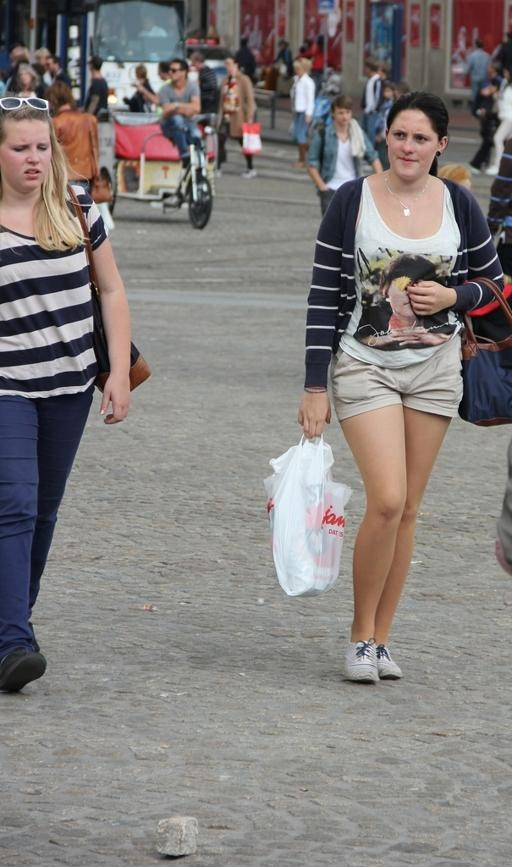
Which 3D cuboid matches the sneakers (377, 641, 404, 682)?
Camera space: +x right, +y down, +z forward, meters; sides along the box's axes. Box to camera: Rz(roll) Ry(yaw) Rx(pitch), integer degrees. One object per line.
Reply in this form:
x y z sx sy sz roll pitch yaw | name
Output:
0.395 0.703 3.262 0.048 0.058 0.138 3 3 -10 | sneakers

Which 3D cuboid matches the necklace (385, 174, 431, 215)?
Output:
0.421 -0.686 3.166 0.095 0.120 0.063 -1 -1 2 | necklace

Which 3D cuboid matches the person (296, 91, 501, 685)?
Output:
0.427 -0.124 3.215 0.590 1.725 0.438 2 13 2 | person

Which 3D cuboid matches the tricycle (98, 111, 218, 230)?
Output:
-1.461 -3.181 13.191 2.012 1.323 1.087 -3 7 -29 | tricycle

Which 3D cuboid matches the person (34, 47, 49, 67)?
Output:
-4.565 -7.963 23.132 0.302 0.632 1.400 -1 13 -11 | person

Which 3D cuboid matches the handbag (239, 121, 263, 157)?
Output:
-0.033 -2.447 9.027 0.234 0.296 0.127 6 46 7 | handbag

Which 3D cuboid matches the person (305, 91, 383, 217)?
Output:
0.920 -2.674 11.565 0.764 1.716 0.519 -8 36 -12 | person
